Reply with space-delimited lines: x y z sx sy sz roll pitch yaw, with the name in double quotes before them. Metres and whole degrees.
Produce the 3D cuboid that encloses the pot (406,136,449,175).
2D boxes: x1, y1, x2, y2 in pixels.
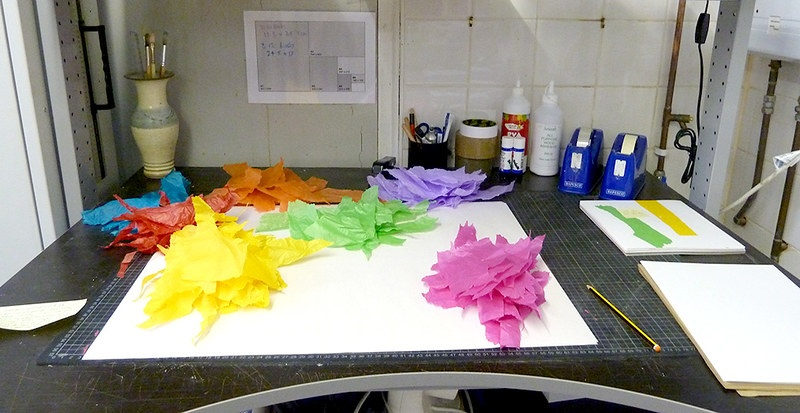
"pot" 0.127 -0.212 2.042 0.149 0.096 0.125 1 13 2
